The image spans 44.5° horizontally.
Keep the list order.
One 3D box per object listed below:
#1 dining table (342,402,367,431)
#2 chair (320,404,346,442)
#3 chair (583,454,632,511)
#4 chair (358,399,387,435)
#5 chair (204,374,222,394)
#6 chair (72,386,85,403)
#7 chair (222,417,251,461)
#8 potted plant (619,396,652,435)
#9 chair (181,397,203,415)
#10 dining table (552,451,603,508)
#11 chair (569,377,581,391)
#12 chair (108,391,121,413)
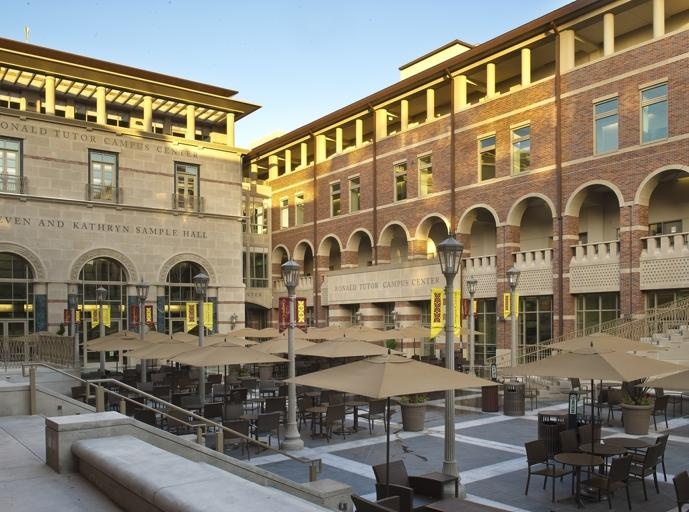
[{"bbox_3d":[0.447,5.656,29.955,1.220,0.710,1.023,1,-3,-17],"label":"dining table"},{"bbox_3d":[-0.370,5.619,28.454,0.726,1.187,1.682,0,-10,-1],"label":"chair"},{"bbox_3d":[7.297,6.252,23.224,1.281,1.407,1.506,-3,-10,16],"label":"chair"},{"bbox_3d":[0.993,5.575,29.142,0.826,1.127,1.963,0,-10,2],"label":"chair"},{"bbox_3d":[-5.267,5.250,34.069,0.797,1.093,0.796,3,-6,-18],"label":"chair"},{"bbox_3d":[-9.710,5.016,30.447,0.510,0.594,0.571,4,-6,-37],"label":"chair"},{"bbox_3d":[-3.470,5.781,26.643,0.815,1.133,2.099,1,-10,-7],"label":"chair"},{"bbox_3d":[9.945,5.534,28.531,1.117,0.817,1.066,-3,-8,33],"label":"potted plant"},{"bbox_3d":[-5.323,5.185,29.017,0.729,0.769,0.657,4,-6,-28],"label":"chair"},{"bbox_3d":[6.509,6.210,23.741,1.640,1.253,1.458,-2,2,-10],"label":"dining table"},{"bbox_3d":[8.975,5.000,32.629,0.321,0.421,1.716,-3,-10,15],"label":"chair"},{"bbox_3d":[-9.011,5.666,32.464,0.445,0.592,1.916,3,-10,-17],"label":"chair"}]
